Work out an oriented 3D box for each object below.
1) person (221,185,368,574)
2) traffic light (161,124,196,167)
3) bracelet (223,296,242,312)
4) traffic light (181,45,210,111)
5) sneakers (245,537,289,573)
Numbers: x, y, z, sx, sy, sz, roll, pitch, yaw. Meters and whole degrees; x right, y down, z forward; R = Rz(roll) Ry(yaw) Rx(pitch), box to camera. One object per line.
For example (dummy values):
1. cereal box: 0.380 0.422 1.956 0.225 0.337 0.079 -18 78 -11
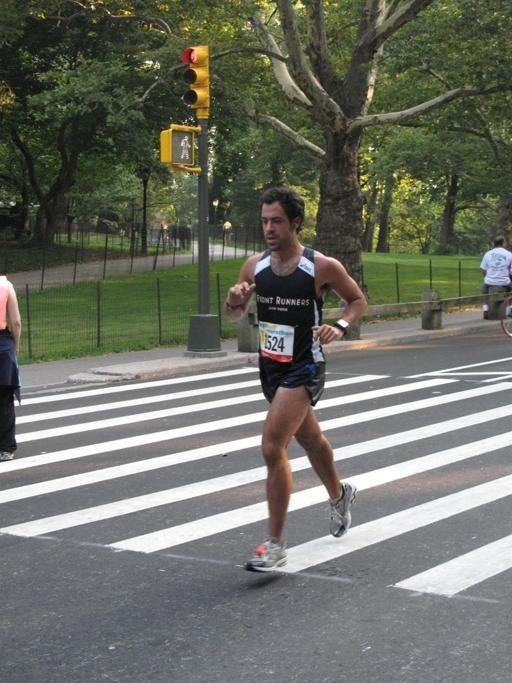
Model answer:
1. person: 0.232 0.206 4.205 0.737 1.983 0.689 -1 8 -2
2. traffic light: -1.268 -3.246 13.412 0.607 0.702 0.631 -1 8 -4
3. bracelet: -0.126 -0.192 4.311 0.075 0.065 0.057 -10 9 -6
4. traffic light: -0.994 -4.359 13.420 0.416 1.200 0.774 -1 8 -5
5. sneakers: 0.064 1.081 4.073 0.110 0.122 0.257 -3 -5 31
